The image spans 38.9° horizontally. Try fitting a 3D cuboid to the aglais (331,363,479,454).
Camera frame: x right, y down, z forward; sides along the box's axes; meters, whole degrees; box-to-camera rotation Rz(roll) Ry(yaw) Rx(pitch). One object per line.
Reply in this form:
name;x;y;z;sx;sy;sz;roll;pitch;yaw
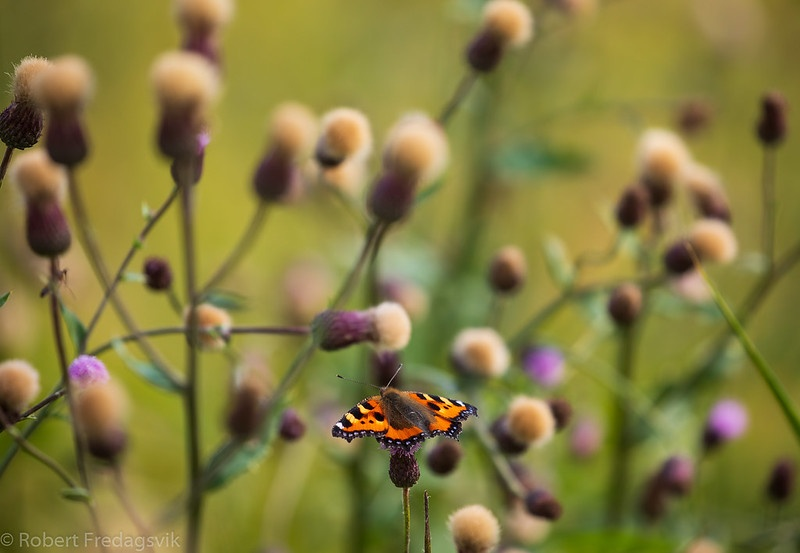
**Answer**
aglais;0.005;0.121;0.955;0.110;0.054;0.065;9;-3;13
